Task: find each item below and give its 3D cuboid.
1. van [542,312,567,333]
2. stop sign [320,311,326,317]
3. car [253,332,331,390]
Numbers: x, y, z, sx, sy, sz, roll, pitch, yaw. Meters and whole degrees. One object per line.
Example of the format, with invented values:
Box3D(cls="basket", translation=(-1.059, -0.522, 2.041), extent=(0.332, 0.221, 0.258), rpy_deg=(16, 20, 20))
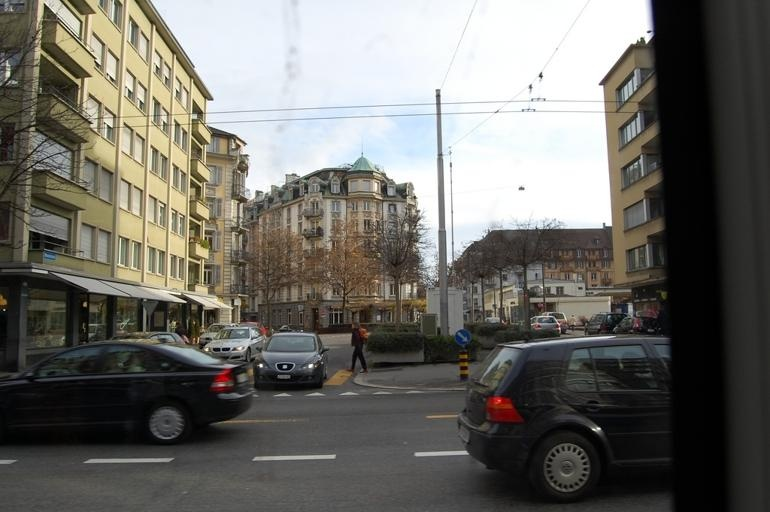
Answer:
Box3D(cls="van", translation=(12.702, 4.960, 57.719), extent=(1.568, 1.209, 2.815), rpy_deg=(0, 2, 9))
Box3D(cls="stop sign", translation=(-6.386, 6.065, 82.386), extent=(0.811, 0.785, 0.313), rpy_deg=(0, -1, -24))
Box3D(cls="car", translation=(-2.540, 2.846, 21.051), extent=(1.675, 1.465, 1.975), rpy_deg=(-1, -1, 11))
